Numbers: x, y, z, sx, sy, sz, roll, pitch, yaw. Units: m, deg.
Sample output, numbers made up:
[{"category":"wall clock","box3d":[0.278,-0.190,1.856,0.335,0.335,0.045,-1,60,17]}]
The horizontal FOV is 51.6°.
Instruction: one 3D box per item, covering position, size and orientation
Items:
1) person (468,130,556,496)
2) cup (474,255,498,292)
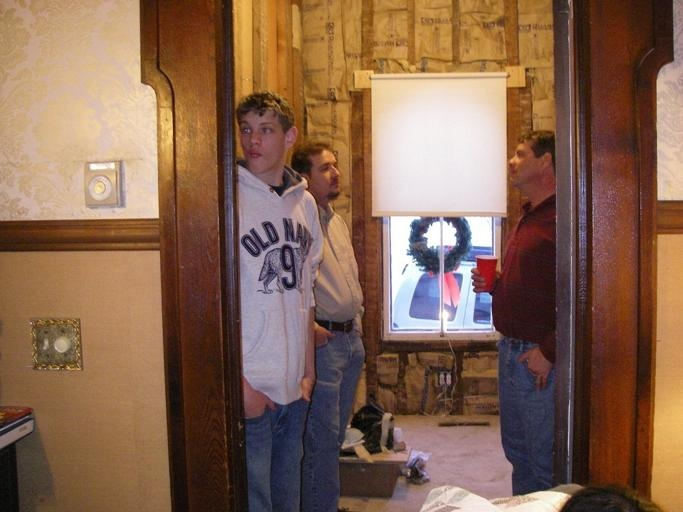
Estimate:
[{"category":"person","box3d":[0.812,0.259,3.018,0.331,1.596,0.545,-2,2,-17]},{"category":"cup","box3d":[0.652,0.079,3.174,0.130,0.194,0.134,0,5,0]}]
